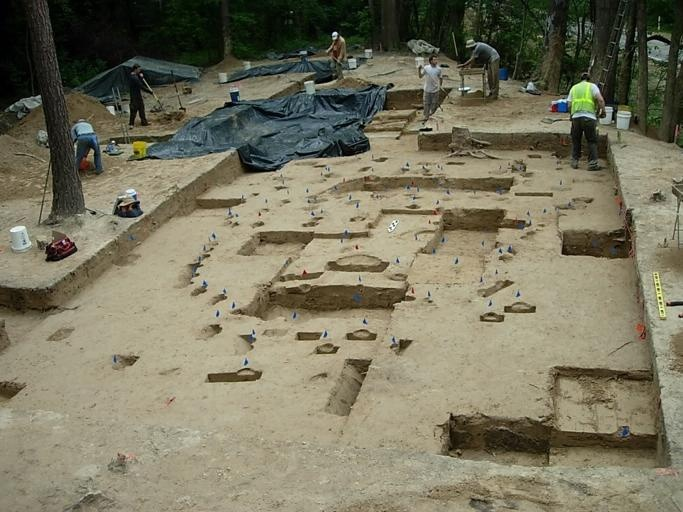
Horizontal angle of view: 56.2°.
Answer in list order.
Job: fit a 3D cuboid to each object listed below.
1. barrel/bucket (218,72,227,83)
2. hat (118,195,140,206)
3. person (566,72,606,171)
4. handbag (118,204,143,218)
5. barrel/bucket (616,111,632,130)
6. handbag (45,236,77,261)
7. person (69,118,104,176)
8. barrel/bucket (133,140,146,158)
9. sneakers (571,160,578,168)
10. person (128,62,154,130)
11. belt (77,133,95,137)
[{"bbox_3d":[-4.036,-6.022,21.776,0.269,0.342,0.751,-3,18,-7],"label":"barrel/bucket"},{"bbox_3d":[-3.453,-0.880,10.425,0.319,0.074,0.271,2,15,2],"label":"hat"},{"bbox_3d":[4.366,-2.374,11.454,0.475,1.697,0.699,-15,26,-30],"label":"person"},{"bbox_3d":[-3.399,-0.715,10.320,0.316,0.093,0.282,9,24,24],"label":"handbag"},{"bbox_3d":[5.682,-2.724,12.921,0.254,0.361,0.435,7,20,18],"label":"barrel/bucket"},{"bbox_3d":[-4.011,-0.107,9.171,0.489,0.316,0.276,-16,25,-39],"label":"handbag"},{"bbox_3d":[-4.891,-2.055,12.298,0.462,1.088,1.417,-8,20,-19],"label":"person"},{"bbox_3d":[-4.318,-2.273,13.735,0.449,0.313,0.368,-1,20,-8],"label":"barrel/bucket"},{"bbox_3d":[4.289,-1.696,11.821,0.090,0.127,0.204,2,31,14],"label":"sneakers"},{"bbox_3d":[-5.330,-4.189,16.810,0.657,1.554,1.549,-6,21,-14],"label":"person"},{"bbox_3d":[-4.766,-2.253,11.935,0.154,0.054,0.168,4,20,-14],"label":"belt"}]
